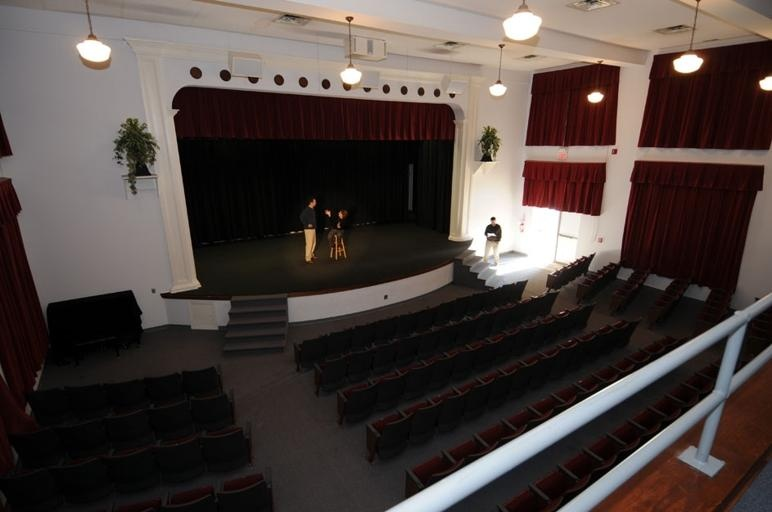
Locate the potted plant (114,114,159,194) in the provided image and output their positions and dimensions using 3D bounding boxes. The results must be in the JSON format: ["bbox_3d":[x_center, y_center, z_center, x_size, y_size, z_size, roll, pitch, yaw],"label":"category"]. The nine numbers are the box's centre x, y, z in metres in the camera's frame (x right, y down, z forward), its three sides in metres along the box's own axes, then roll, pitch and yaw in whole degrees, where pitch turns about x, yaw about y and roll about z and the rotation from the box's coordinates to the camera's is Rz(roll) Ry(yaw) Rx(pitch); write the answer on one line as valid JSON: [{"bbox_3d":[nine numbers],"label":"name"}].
[{"bbox_3d":[-6.819,-2.701,13.287,1.121,2.057,0.585,-8,17,-28],"label":"potted plant"}]

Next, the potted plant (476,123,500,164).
[{"bbox_3d":[3.795,-4.311,18.536,0.924,1.475,0.949,-18,41,-18],"label":"potted plant"}]
